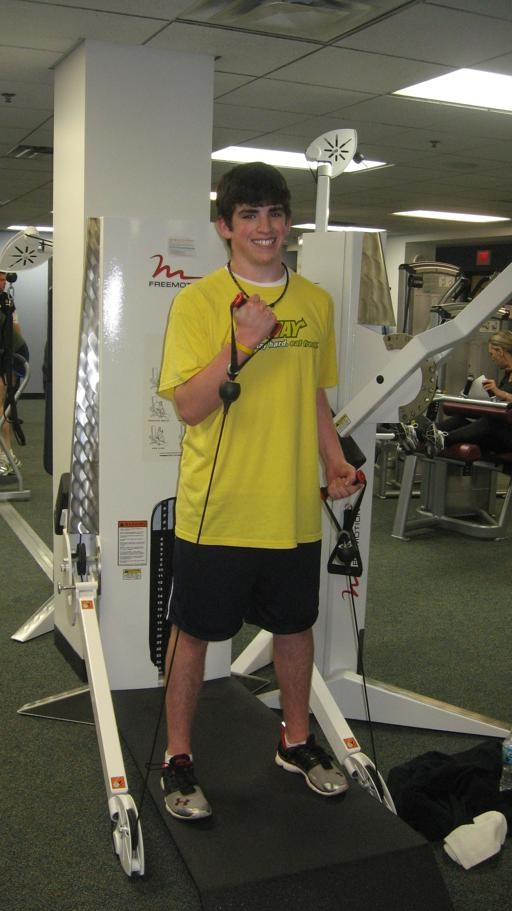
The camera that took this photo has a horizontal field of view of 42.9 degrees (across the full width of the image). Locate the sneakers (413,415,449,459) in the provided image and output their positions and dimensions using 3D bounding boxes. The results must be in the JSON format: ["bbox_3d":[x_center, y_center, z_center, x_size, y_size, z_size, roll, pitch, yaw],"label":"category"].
[{"bbox_3d":[0.893,-0.077,3.337,0.102,0.143,0.313,32,-18,36],"label":"sneakers"}]

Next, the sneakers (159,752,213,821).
[{"bbox_3d":[-0.134,0.670,1.350,0.059,0.074,0.151,1,3,-16],"label":"sneakers"}]

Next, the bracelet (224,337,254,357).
[{"bbox_3d":[-0.031,-0.177,1.083,0.065,0.026,0.031,2,-3,39],"label":"bracelet"}]

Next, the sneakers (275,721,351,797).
[{"bbox_3d":[0.127,0.684,1.508,0.071,0.095,0.200,0,3,-32],"label":"sneakers"}]

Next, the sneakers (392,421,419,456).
[{"bbox_3d":[0.567,-0.067,2.482,0.079,0.105,0.231,26,2,11],"label":"sneakers"}]
